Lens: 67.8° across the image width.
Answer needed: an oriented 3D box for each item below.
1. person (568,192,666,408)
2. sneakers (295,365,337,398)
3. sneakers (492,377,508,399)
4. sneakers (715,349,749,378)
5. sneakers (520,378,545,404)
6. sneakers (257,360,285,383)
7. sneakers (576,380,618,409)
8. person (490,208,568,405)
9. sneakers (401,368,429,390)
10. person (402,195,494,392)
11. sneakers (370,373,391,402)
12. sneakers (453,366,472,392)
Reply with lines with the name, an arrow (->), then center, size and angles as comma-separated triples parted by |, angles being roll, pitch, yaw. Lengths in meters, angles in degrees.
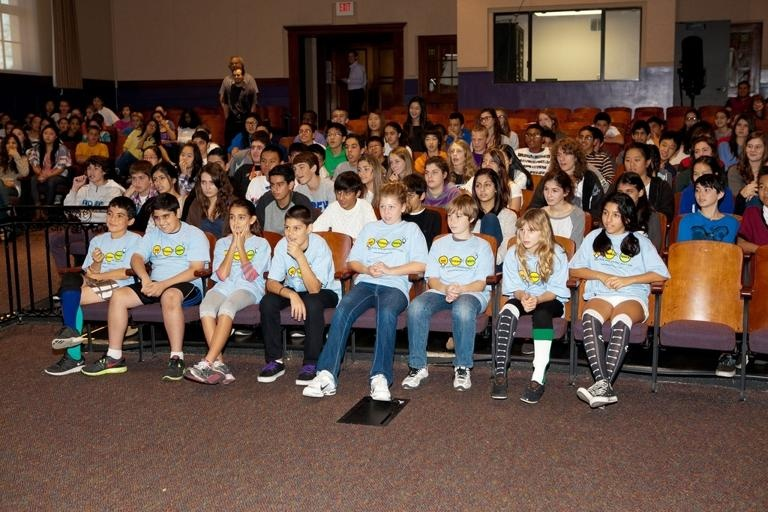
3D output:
person -> 1.688, 0.283, 4.113 | 0.687, 1.362, 0.869 | 4, 15, 19
sneakers -> -0.480, 0.936, 4.110 | 0.120, 0.163, 0.314 | -4, -12, 32
sneakers -> 0.823, 0.939, 4.068 | 0.108, 0.149, 0.091 | 1, 14, 7
sneakers -> 2.614, 0.797, 4.308 | 0.150, 0.189, 0.455 | -3, -3, 31
sneakers -> 1.046, 0.946, 4.011 | 0.097, 0.107, 0.210 | 3, 11, 34
sneakers -> -0.866, 0.899, 4.462 | 0.096, 0.121, 0.270 | -2, -4, 18
sneakers -> 1.473, 0.954, 3.927 | 0.266, 0.187, 0.192 | 4, 15, 17
person -> 1.086, 0.335, 4.166 | 0.498, 1.257, 0.712 | 4, 15, 18
sneakers -> 0.236, 0.916, 4.325 | 0.090, 0.128, 0.279 | 5, 6, 34
person -> 0.516, 0.245, 4.375 | 0.612, 1.367, 0.775 | 3, 15, 15
sneakers -> -0.017, 0.940, 4.130 | 0.149, 0.171, 0.195 | -1, 15, 0
sneakers -> 0.582, 0.911, 4.210 | 0.131, 0.180, 0.389 | 0, -7, 7
